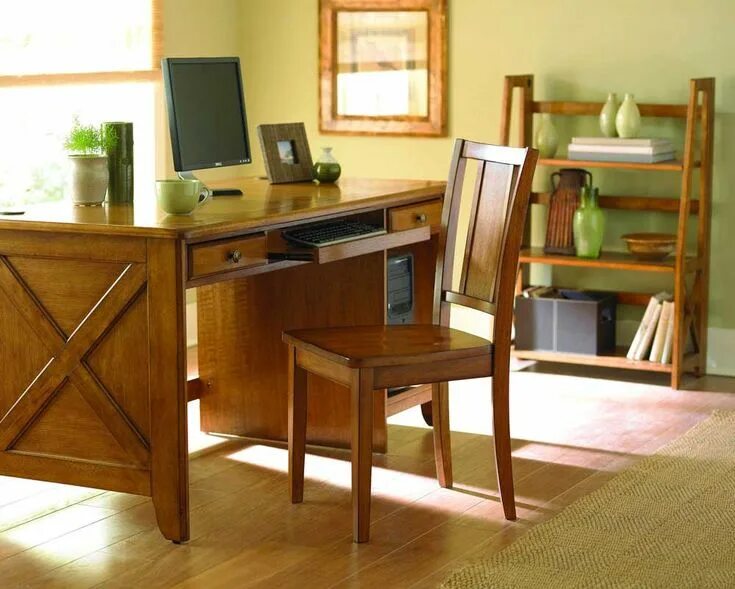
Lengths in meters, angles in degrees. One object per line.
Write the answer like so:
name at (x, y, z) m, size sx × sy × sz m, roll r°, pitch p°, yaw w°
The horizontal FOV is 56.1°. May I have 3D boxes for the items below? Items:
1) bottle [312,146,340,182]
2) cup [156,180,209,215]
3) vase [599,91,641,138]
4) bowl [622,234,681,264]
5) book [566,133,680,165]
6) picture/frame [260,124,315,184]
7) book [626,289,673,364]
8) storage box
bottle at (-0.154, -0.516, 2.730) m, size 0.150 × 0.138 × 0.142 m, roll 0°, pitch 4°, yaw 12°
cup at (-0.501, -0.262, 1.881) m, size 0.126 × 0.073 × 0.094 m, roll 2°, pitch 6°, yaw -4°
vase at (1.221, -0.869, 3.346) m, size 0.188 × 0.207 × 0.202 m, roll 4°, pitch 15°, yaw 18°
bowl at (1.376, -0.236, 3.390) m, size 0.245 × 0.112 × 0.291 m, roll 5°, pitch 15°, yaw 21°
book at (1.215, -0.696, 3.312) m, size 0.488 × 0.120 × 0.208 m, roll 3°, pitch 14°, yaw 16°
picture/frame at (-0.313, -0.541, 2.673) m, size 0.026 × 0.226 × 0.257 m, roll -3°, pitch 13°, yaw 35°
book at (1.300, 0.157, 3.308) m, size 0.078 × 0.290 × 0.304 m, roll 22°, pitch 16°, yaw 24°
storage box at (1.078, 0.153, 3.550) m, size 0.436 × 0.272 × 0.528 m, roll -2°, pitch 4°, yaw -23°
